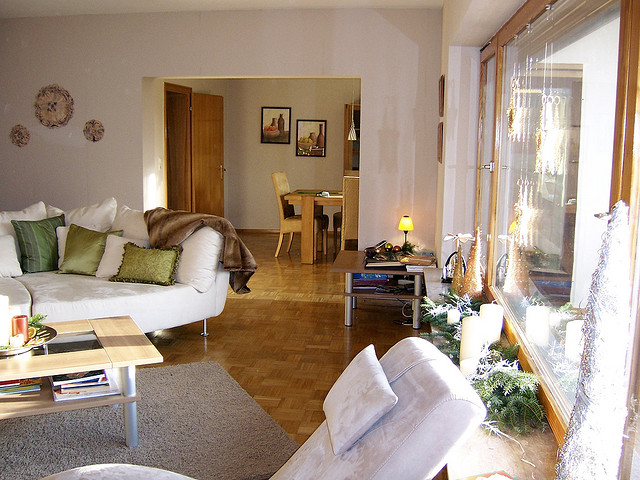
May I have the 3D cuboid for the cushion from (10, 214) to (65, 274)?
[{"bbox_3d":[-2.414,0.035,4.141,0.240,0.439,0.479,10,11,30],"label":"cushion"}]

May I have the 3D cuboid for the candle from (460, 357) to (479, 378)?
[{"bbox_3d":[0.660,0.558,2.108,0.077,0.099,0.089,6,12,30],"label":"candle"}]

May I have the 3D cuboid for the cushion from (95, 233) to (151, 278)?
[{"bbox_3d":[-1.713,0.180,4.043,0.366,0.363,0.115,5,-15,9],"label":"cushion"}]

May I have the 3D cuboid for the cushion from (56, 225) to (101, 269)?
[{"bbox_3d":[-2.226,0.064,4.247,0.334,0.370,0.139,-1,-1,-19],"label":"cushion"}]

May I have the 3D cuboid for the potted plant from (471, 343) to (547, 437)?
[{"bbox_3d":[0.778,0.610,1.991,0.300,0.146,0.364,-36,28,21],"label":"potted plant"}]

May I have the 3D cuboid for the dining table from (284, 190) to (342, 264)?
[{"bbox_3d":[0.074,-0.167,7.458,0.809,0.926,1.535,2,1,20],"label":"dining table"}]

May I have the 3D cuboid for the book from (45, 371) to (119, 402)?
[{"bbox_3d":[-1.227,0.738,2.428,0.198,0.051,0.209,-2,10,-25],"label":"book"}]

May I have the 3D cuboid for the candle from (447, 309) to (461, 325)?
[{"bbox_3d":[0.773,0.440,2.749,0.070,0.087,0.074,-2,11,-13],"label":"candle"}]

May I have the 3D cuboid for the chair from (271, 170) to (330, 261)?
[{"bbox_3d":[-0.350,-0.317,7.283,0.731,1.169,0.726,-4,-6,-1],"label":"chair"}]

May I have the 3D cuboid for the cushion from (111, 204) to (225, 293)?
[{"bbox_3d":[-1.100,0.099,3.658,0.762,0.787,0.231,17,15,23],"label":"cushion"}]

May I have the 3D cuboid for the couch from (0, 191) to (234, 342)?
[{"bbox_3d":[-1.772,0.192,3.795,1.887,0.902,1.183,5,11,22],"label":"couch"}]

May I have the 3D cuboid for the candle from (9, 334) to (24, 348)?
[{"bbox_3d":[-1.574,0.521,2.455,0.059,0.049,0.068,-4,11,-24],"label":"candle"}]

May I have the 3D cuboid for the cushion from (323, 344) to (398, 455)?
[{"bbox_3d":[0.112,0.539,1.568,0.096,0.218,0.330,31,7,-11],"label":"cushion"}]

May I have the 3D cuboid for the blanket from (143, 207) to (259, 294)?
[{"bbox_3d":[-1.044,-0.014,4.007,0.873,0.646,0.299,7,21,30],"label":"blanket"}]

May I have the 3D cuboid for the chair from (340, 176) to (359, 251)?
[{"bbox_3d":[0.391,-0.352,6.341,0.210,0.986,0.324,0,9,0],"label":"chair"}]
